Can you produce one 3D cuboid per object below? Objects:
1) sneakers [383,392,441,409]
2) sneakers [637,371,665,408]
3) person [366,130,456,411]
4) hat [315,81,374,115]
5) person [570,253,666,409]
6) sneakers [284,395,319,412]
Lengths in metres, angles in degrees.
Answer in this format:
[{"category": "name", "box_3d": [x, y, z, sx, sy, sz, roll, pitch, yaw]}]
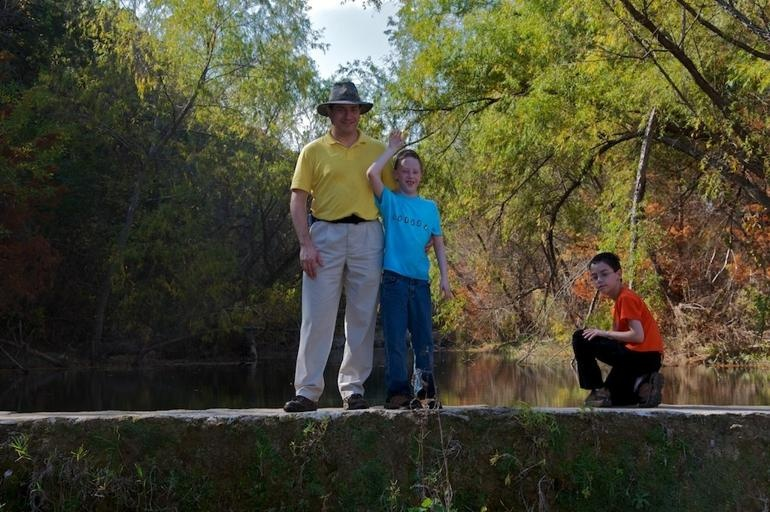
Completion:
[{"category": "sneakers", "box_3d": [0.300, 1.722, 8.944, 0.525, 0.261, 0.258, -7, -12, 23]}, {"category": "sneakers", "box_3d": [3.180, 1.567, 9.320, 0.184, 0.495, 0.236, -10, -52, 39]}, {"category": "person", "box_3d": [0.279, 0.109, 9.212, 0.766, 2.378, 0.780, -1, -1, 39]}, {"category": "hat", "box_3d": [-0.486, -1.947, 9.449, 0.589, 0.368, 0.688, -4, 4, 19]}, {"category": "person", "box_3d": [2.861, 0.904, 9.617, 0.970, 2.018, 1.025, 1, -9, -4]}, {"category": "sneakers", "box_3d": [-0.949, 1.703, 9.032, 0.420, 0.186, 0.182, 1, -9, -34]}]
